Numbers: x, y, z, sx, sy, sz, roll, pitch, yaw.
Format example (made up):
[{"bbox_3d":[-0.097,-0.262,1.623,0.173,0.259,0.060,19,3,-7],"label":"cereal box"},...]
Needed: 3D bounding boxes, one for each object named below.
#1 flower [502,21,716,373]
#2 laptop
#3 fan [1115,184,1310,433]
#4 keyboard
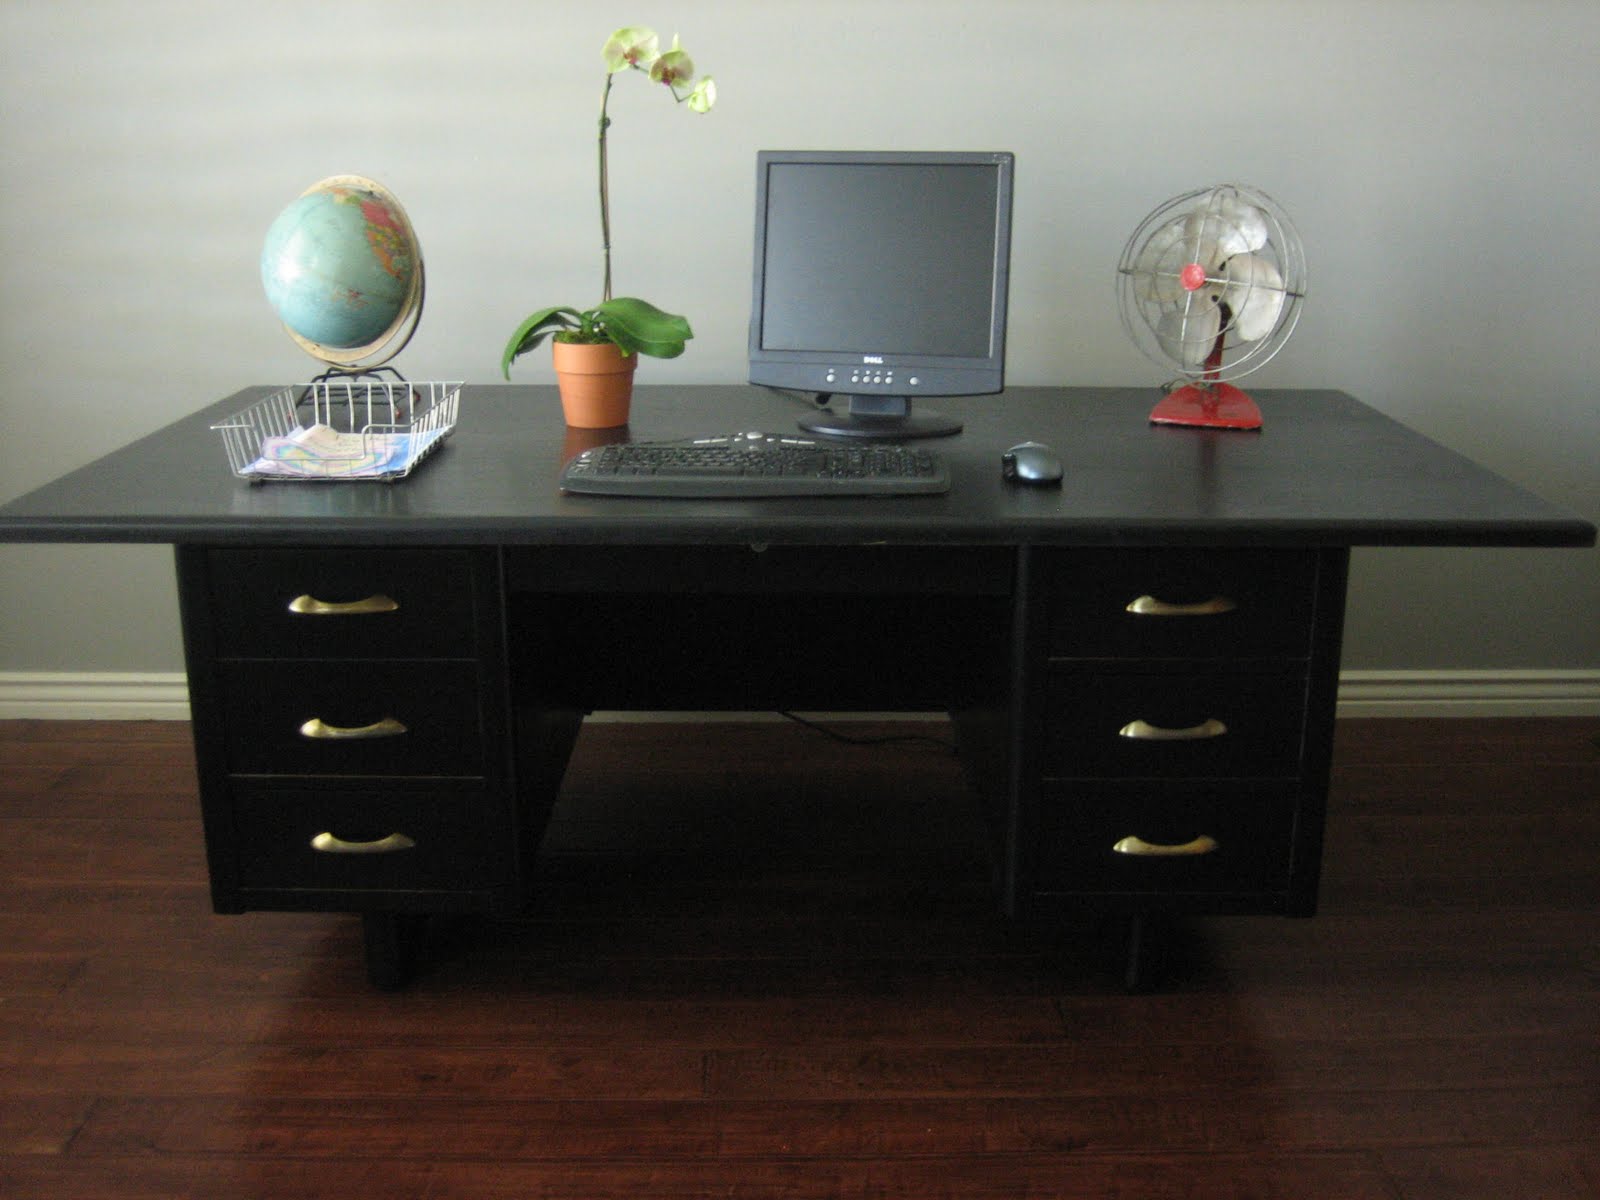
[{"bbox_3d":[-0.330,-0.693,2.872,0.375,0.829,0.291,13,26,17],"label":"flower"},{"bbox_3d":[0.141,-0.570,2.759,0.602,0.498,0.309,3,8,3],"label":"laptop"},{"bbox_3d":[0.811,-0.594,3.001,0.565,0.573,0.414,1,16,13],"label":"fan"},{"bbox_3d":[-0.078,-0.228,2.540,0.622,0.056,0.246,-1,19,-2],"label":"keyboard"}]
